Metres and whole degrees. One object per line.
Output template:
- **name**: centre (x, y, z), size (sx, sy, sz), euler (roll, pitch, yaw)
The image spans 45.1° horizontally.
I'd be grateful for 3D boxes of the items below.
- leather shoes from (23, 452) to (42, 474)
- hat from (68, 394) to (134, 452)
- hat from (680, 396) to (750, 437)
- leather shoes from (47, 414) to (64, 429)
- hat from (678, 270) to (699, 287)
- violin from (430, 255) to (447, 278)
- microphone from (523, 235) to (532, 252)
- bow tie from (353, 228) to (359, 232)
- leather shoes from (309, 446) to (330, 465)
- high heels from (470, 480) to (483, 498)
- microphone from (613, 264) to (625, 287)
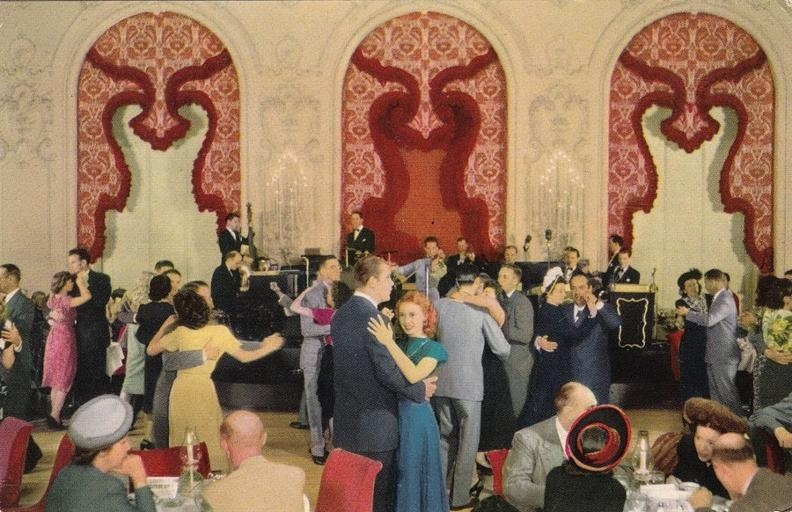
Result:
- **leather shoes**: centre (-4.462, 2.547, 11.826), size (0.126, 0.244, 0.346), euler (-1, -8, 0)
- **hat**: centre (-2.770, 1.623, 9.059), size (0.515, 0.457, 0.206), euler (-28, -29, -14)
- **hat**: centre (3.205, 1.614, 9.676), size (0.553, 0.370, 0.555), euler (-4, -9, 22)
- **leather shoes**: centre (-4.542, 2.249, 12.862), size (0.111, 0.171, 0.348), euler (4, -9, 15)
- **hat**: centre (4.134, 0.269, 13.554), size (0.242, 0.132, 0.302), euler (-25, -7, 30)
- **violin**: centre (0.656, 0.147, 14.973), size (0.263, 0.309, 0.106), euler (-15, -23, 25)
- **microphone**: centre (2.057, -0.217, 15.173), size (0.147, 0.256, 0.082), euler (10, 5, -14)
- **bow tie**: centre (-0.640, -0.429, 15.419), size (0.061, 0.062, 0.020), euler (0, -5, 3)
- **leather shoes**: centre (-0.938, 2.466, 11.773), size (0.163, 0.160, 0.360), euler (2, -7, -17)
- **high heels**: centre (0.947, 2.730, 11.252), size (0.123, 0.174, 0.323), euler (-3, -9, 18)
- **microphone**: centre (3.396, 0.269, 14.925), size (0.098, 0.393, 0.215), euler (16, -7, -37)
